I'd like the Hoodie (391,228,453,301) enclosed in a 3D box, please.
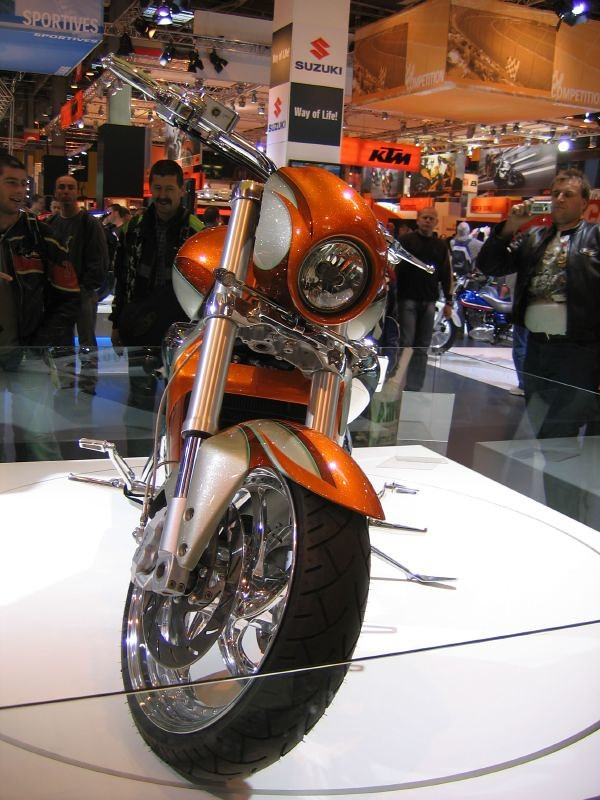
[{"bbox_3d":[1.084,-1.205,5.631,0.672,0.650,0.338,-1,23,-9],"label":"Hoodie"}]

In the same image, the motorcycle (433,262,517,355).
[{"bbox_3d":[2.507,-1.197,8.361,1.990,1.082,0.741,-1,8,-22],"label":"motorcycle"}]

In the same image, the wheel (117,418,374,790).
[{"bbox_3d":[-0.084,0.278,0.870,0.305,0.387,0.491,3,5,-16],"label":"wheel"}]
